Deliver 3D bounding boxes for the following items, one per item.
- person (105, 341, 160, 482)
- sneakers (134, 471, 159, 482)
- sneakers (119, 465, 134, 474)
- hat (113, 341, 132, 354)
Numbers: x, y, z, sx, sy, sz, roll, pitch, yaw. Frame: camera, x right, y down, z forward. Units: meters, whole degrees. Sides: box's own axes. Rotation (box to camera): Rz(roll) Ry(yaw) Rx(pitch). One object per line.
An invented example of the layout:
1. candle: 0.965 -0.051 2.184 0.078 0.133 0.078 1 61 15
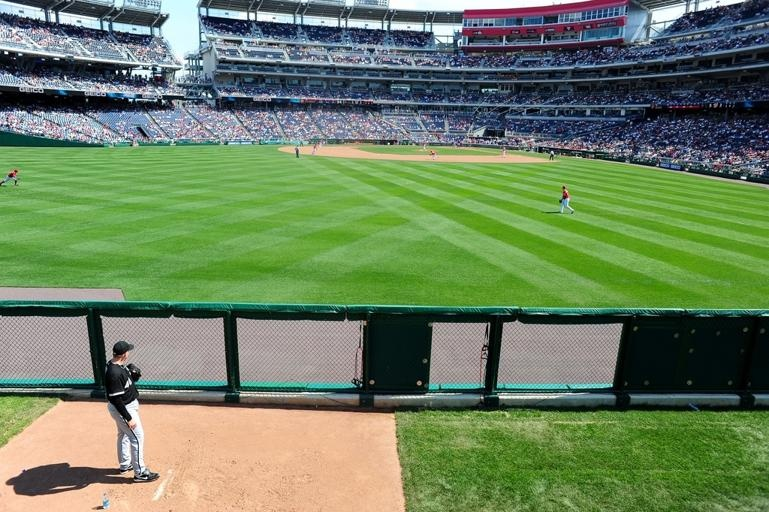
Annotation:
1. person: -5.340 3.314 12.277 0.723 2.979 1.183 -9 23 -24
2. sneakers: -4.986 4.717 12.359 0.590 0.160 0.186 1 8 -11
3. sneakers: -5.471 4.591 12.468 0.159 0.128 0.367 6 4 11
4. hat: -5.449 1.941 12.255 0.267 0.252 0.361 8 17 22
